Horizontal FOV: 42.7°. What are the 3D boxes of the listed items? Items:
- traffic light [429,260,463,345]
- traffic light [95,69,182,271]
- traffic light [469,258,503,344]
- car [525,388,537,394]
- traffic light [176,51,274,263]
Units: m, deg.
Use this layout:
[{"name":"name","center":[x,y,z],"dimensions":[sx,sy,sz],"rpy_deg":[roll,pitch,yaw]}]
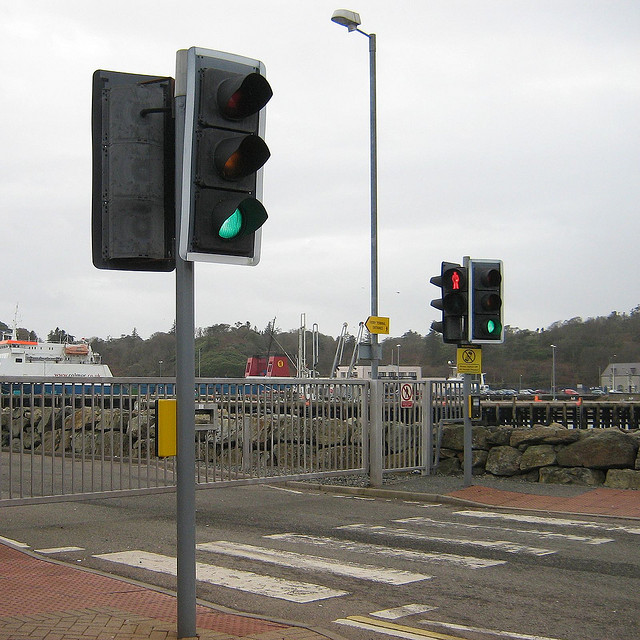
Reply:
[{"name":"traffic light","center":[2.065,-0.277,13.290],"dimensions":[0.511,1.281,0.418],"rpy_deg":[0,-3,14]},{"name":"traffic light","center":[-1.215,-0.995,5.402],"dimensions":[0.529,1.309,0.284],"rpy_deg":[1,-3,-18]},{"name":"traffic light","center":[2.688,-0.315,13.231],"dimensions":[0.501,1.349,0.494],"rpy_deg":[0,-3,16]},{"name":"car","center":[26.746,9.060,103.469],"dimensions":[1.054,0.953,2.669],"rpy_deg":[2,3,8]},{"name":"traffic light","center":[-0.598,-1.065,5.232],"dimensions":[0.566,1.378,0.325],"rpy_deg":[2,-3,-25]}]
